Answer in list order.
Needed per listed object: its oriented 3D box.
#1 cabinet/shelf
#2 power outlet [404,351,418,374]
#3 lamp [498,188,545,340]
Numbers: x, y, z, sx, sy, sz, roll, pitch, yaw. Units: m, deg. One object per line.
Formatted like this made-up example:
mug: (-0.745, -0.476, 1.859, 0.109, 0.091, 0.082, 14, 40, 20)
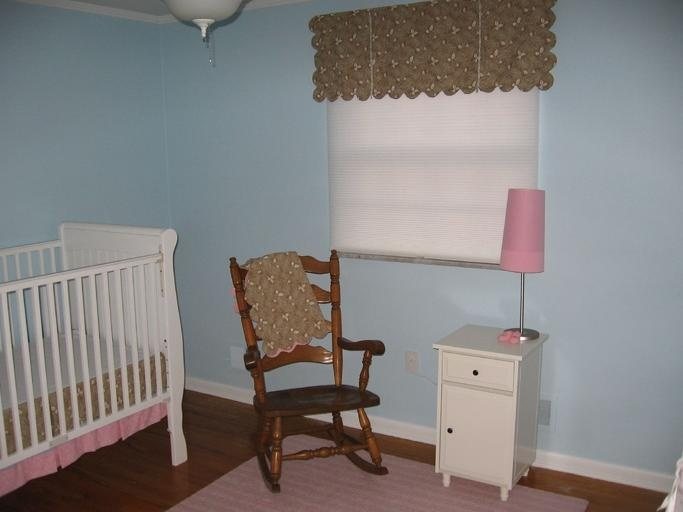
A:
cabinet/shelf: (0.820, 0.849, 3.136, 0.555, 0.843, 0.469, 5, 15, 25)
power outlet: (0.439, 0.675, 3.543, 0.130, 0.184, 0.019, 7, 11, 37)
lamp: (1.006, 0.041, 3.031, 0.203, 0.824, 0.332, 9, 16, 36)
